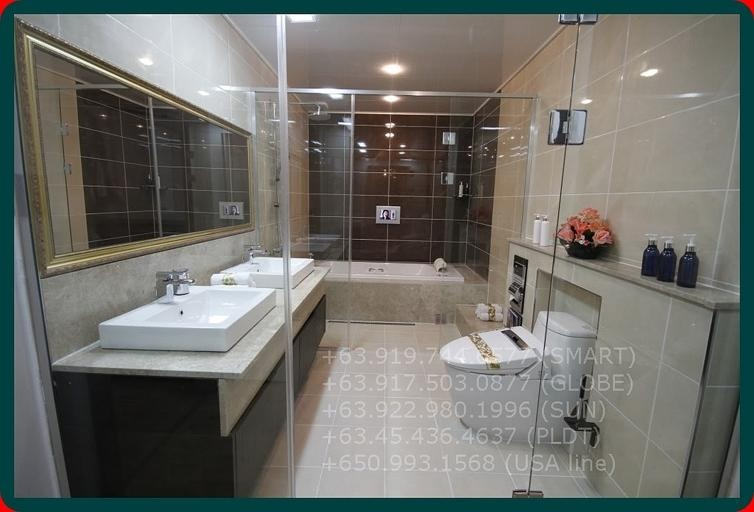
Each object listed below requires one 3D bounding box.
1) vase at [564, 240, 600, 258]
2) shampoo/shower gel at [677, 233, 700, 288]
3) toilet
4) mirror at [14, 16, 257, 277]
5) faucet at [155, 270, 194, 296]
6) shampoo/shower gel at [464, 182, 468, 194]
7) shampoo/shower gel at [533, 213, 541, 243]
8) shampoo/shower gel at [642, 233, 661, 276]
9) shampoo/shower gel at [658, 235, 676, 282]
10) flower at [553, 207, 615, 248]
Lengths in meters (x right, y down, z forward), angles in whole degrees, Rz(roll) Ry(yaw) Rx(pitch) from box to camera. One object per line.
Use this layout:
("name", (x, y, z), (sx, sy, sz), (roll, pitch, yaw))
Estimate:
("vase", (0.968, -0.026, 2.369), (0.115, 0.046, 0.091), (8, 11, 17))
("shampoo/shower gel", (1.336, 0.021, 2.158), (0.070, 0.220, 0.078), (10, 15, 42))
("toilet", (0.630, 0.554, 2.536), (0.713, 0.520, 0.510), (1, 7, 5))
("mirror", (-1.113, -0.491, 2.644), (0.020, 0.919, 1.491), (5, 9, 19))
("faucet", (-1.033, 0.131, 2.555), (0.129, 0.100, 0.149), (0, 3, 2))
("shampoo/shower gel", (0.630, -0.477, 3.542), (0.020, 0.073, 0.057), (-3, 11, -16))
("shampoo/shower gel", (0.837, -0.146, 2.641), (0.043, 0.142, 0.170), (3, 10, 18))
("shampoo/shower gel", (1.212, -0.002, 2.235), (0.065, 0.182, 0.069), (5, 12, 27))
("shampoo/shower gel", (1.270, 0.018, 2.200), (0.068, 0.186, 0.070), (7, 13, 35))
("flower", (1.002, -0.145, 2.431), (0.279, 0.159, 0.256), (-1, 18, 38))
